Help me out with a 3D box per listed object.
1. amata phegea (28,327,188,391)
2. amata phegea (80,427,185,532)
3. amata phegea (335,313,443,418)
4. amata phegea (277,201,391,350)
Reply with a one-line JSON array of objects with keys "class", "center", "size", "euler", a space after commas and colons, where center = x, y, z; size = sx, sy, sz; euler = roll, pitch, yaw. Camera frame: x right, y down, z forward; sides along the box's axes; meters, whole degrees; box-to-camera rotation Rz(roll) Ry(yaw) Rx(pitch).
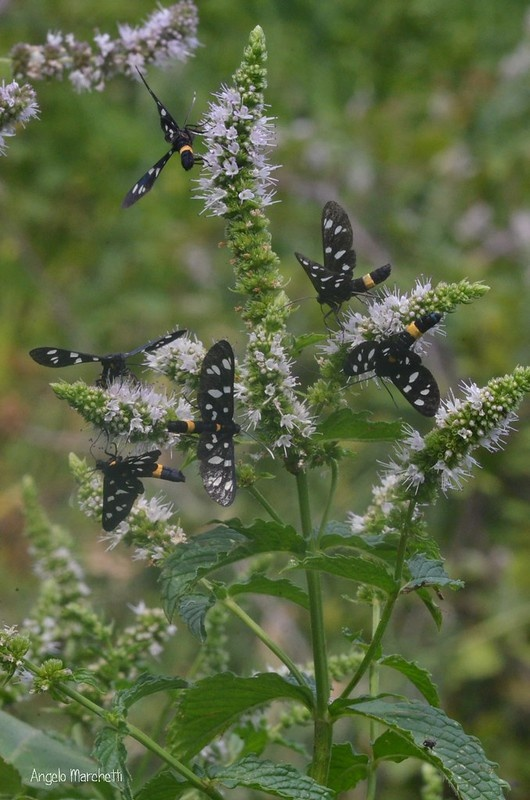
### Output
[{"class": "amata phegea", "center": [-0.484, -0.120, 3.328], "size": [0.506, 0.117, 0.215], "euler": [-7, 2, -11]}, {"class": "amata phegea", "center": [-0.407, 0.202, 3.141], "size": [0.241, 0.218, 0.121], "euler": [26, -60, 21]}, {"class": "amata phegea", "center": [0.383, -0.100, 3.082], "size": [0.295, 0.269, 0.312], "euler": [-3, -41, 3]}, {"class": "amata phegea", "center": [0.291, -0.477, 3.627], "size": [0.433, 0.583, 0.411], "euler": [-12, -79, 17]}]
